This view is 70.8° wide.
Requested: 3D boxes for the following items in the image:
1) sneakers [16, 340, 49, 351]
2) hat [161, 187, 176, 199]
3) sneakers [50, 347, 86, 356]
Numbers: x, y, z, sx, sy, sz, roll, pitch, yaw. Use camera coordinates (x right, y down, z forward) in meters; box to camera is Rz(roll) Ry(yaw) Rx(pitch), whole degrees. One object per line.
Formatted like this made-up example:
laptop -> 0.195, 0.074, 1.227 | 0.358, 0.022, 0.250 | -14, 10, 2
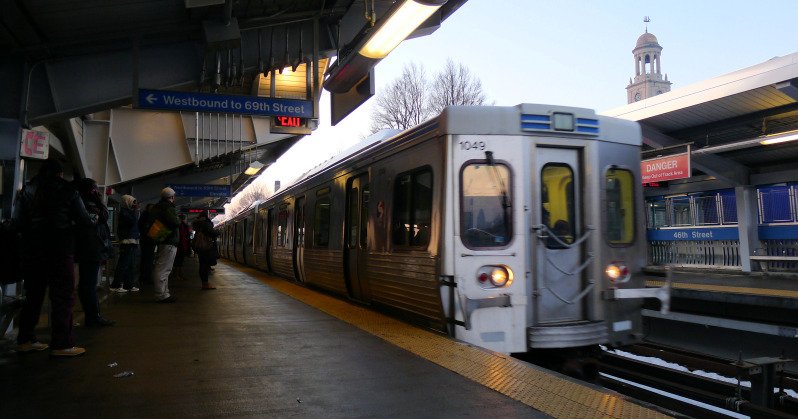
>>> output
sneakers -> -7.117, 2.665, 10.912 | 0.509, 0.185, 0.219 | 2, 2, -27
hat -> -5.880, -0.364, 14.313 | 0.463, 0.181, 0.571 | 1, 16, -22
sneakers -> -6.328, 2.719, 10.775 | 0.579, 0.224, 0.201 | 1, -2, -18
